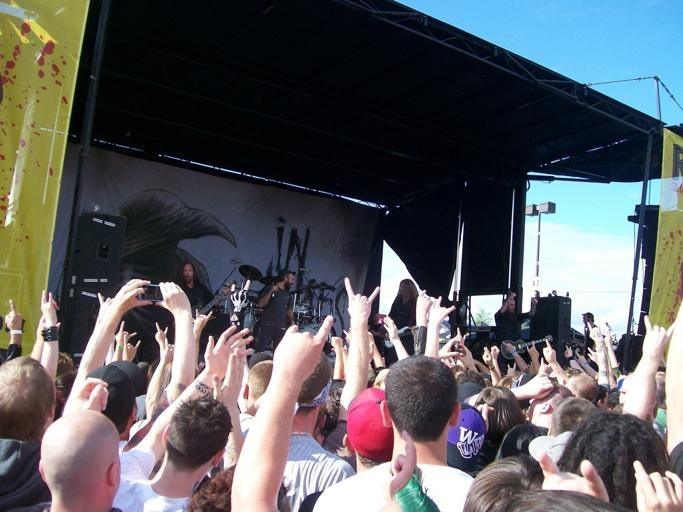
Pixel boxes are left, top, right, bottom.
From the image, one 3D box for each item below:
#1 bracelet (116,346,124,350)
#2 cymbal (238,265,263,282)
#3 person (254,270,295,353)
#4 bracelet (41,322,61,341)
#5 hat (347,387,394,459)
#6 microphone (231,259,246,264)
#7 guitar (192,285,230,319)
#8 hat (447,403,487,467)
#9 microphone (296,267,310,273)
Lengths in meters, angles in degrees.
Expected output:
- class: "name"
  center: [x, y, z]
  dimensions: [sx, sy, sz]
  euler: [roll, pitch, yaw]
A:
- class: "bracelet"
  center: [-1.550, 0.646, 3.374]
  dimensions: [0.026, 0.023, 0.028]
  euler: [0, 3, -21]
- class: "cymbal"
  center: [-1.892, 0.353, 9.857]
  dimensions: [0.368, 0.094, 0.378]
  euler: [31, -55, -16]
- class: "person"
  center: [-1.272, 1.224, 9.175]
  dimensions: [0.625, 2.089, 0.516]
  euler: [6, 23, -9]
- class: "bracelet"
  center: [-1.724, 0.459, 2.876]
  dimensions: [0.104, 0.094, 0.083]
  euler: [-5, -6, 30]
- class: "hat"
  center: [0.087, 0.800, 2.134]
  dimensions: [0.137, 0.351, 0.201]
  euler: [-5, 15, -21]
- class: "microphone"
  center: [-2.275, 0.126, 10.409]
  dimensions: [0.226, 0.108, 0.353]
  euler: [6, -2, 6]
- class: "guitar"
  center: [-2.344, 0.843, 8.560]
  dimensions: [1.058, 0.437, 0.188]
  euler: [-43, -19, 32]
- class: "hat"
  center: [0.587, 0.819, 2.263]
  dimensions: [0.163, 0.308, 0.129]
  euler: [-1, -5, -1]
- class: "microphone"
  center: [-0.932, 0.340, 11.162]
  dimensions: [0.352, 0.111, 0.100]
  euler: [8, -5, -14]
